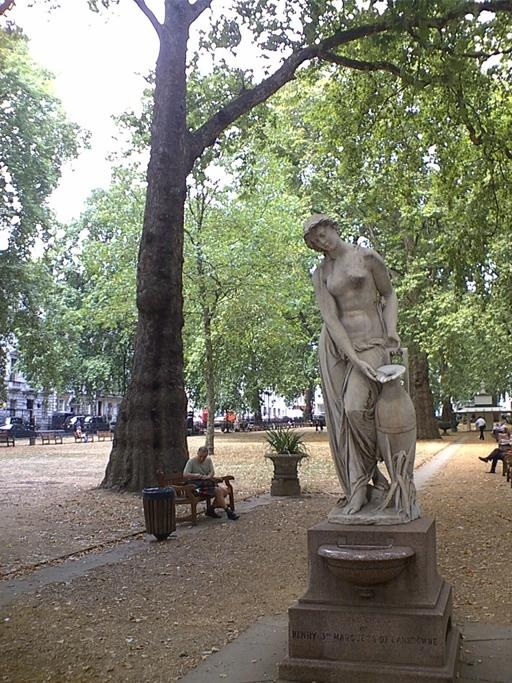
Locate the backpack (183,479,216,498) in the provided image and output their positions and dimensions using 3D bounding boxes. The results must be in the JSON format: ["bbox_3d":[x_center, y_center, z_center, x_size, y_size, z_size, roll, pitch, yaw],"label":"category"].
[{"bbox_3d":[-1.038,2.708,10.491,0.503,0.392,0.210,4,-11,-37],"label":"backpack"}]

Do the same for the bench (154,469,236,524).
[{"bbox_3d":[-1.025,2.891,10.734,0.729,0.995,1.863,-8,-11,19],"label":"bench"}]

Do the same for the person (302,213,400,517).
[{"bbox_3d":[0.735,0.072,4.234,0.664,2.208,0.617,-4,-6,11],"label":"person"}]

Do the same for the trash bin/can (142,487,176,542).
[{"bbox_3d":[-1.551,2.743,8.959,0.542,0.796,0.533,5,-14,-44],"label":"trash bin/can"}]

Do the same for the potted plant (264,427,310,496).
[{"bbox_3d":[0.806,2.853,13.521,0.949,1.529,0.866,-3,-8,31],"label":"potted plant"}]
